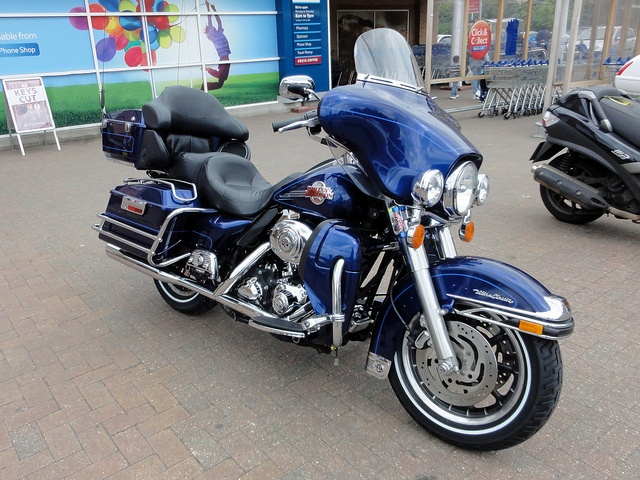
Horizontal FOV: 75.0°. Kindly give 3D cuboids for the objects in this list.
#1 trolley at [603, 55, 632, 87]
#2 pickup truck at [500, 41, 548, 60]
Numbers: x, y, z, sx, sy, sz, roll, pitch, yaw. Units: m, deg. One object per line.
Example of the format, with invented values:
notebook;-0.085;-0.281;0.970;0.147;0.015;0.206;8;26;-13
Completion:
trolley;9.327;-5.457;13.232;0.747;0.711;4.999;12;27;31
pickup truck;7.463;-6.883;15.274;1.334;0.573;1.159;-5;49;-4
